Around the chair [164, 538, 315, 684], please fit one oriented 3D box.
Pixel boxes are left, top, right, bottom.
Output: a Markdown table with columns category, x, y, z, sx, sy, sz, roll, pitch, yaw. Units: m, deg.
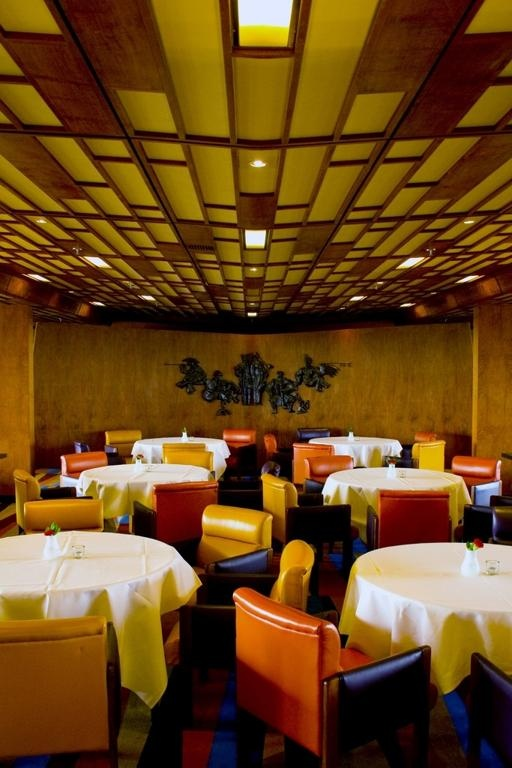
| category | x | y | z | sx | sy | sz | roll | pitch | yaw |
| --- | --- | --- | --- | --- | --- | --- | --- | --- | --- |
| chair | -0.089 | 1.032 | 2.934 | 0.787 | 0.900 | 0.701 | 0 | -5 | 5 |

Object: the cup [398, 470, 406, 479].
| category | x | y | z | sx | sy | sz | roll | pitch | yaw |
| --- | --- | --- | --- | --- | --- | --- | --- | --- | --- |
| cup | 1.570 | 0.974 | 5.871 | 0.035 | 0.065 | 0.067 | -1 | 3 | -4 |

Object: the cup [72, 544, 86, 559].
| category | x | y | z | sx | sy | sz | roll | pitch | yaw |
| --- | --- | --- | --- | --- | --- | --- | --- | --- | --- |
| cup | -1.069 | 0.993 | 3.228 | 0.078 | 0.066 | 0.075 | -3 | 0 | 0 |
